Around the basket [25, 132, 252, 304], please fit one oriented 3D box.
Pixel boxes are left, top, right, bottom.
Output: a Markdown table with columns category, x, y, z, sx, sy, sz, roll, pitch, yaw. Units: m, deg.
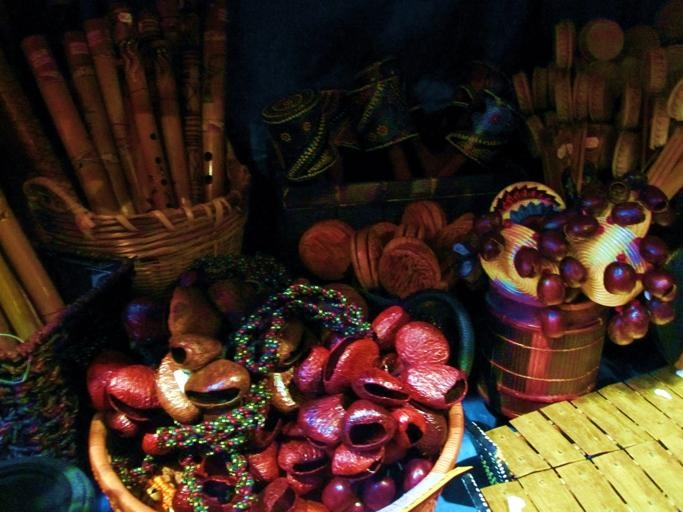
| category | x | y | z | sx | sy | sz | roll | pitch | yaw |
| --- | --- | --- | --- | --- | --- | --- | --- | --- | --- |
| basket | -0.404 | -0.112 | 1.180 | 0.331 | 0.184 | 0.320 | 6 | 15 | 36 |
